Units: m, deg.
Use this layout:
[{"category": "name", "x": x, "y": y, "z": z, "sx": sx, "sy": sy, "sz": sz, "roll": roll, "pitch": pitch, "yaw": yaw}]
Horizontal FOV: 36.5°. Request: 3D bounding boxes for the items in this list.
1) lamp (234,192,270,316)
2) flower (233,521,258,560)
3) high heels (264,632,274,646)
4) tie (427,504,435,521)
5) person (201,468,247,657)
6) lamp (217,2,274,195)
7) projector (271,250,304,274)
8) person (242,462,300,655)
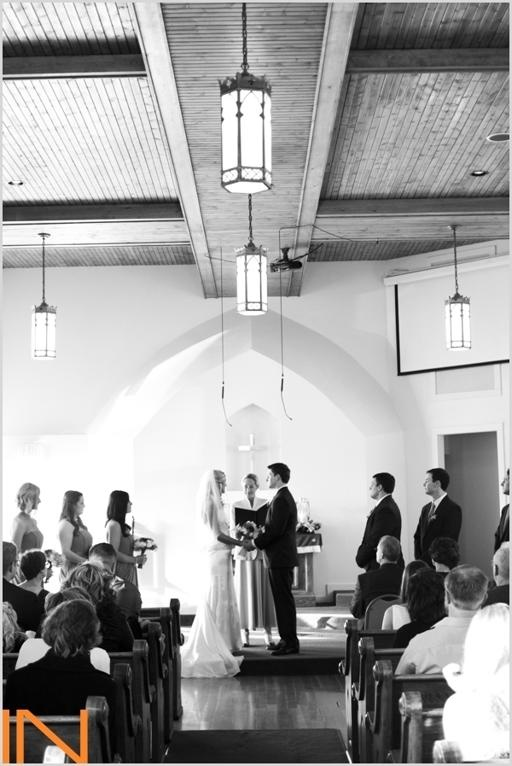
[{"category": "lamp", "x": -0.032, "y": -0.799, "z": 5.800, "sx": 0.243, "sy": 0.513, "sz": 0.438, "roll": 4, "pitch": -5, "yaw": -1}, {"category": "flower", "x": -0.115, "y": 1.534, "z": 7.480, "sx": 0.124, "sy": 0.330, "sz": 0.308, "roll": -1, "pitch": -19, "yaw": -38}, {"category": "high heels", "x": 0.116, "y": 2.422, "z": 7.313, "sx": 0.077, "sy": 0.102, "sz": 0.227, "roll": 1, "pitch": -7, "yaw": 1}, {"category": "tie", "x": 1.655, "y": 1.228, "z": 7.331, "sx": 0.033, "sy": 0.249, "sz": 0.032, "roll": -8, "pitch": -39, "yaw": 39}, {"category": "person", "x": -0.300, "y": 1.619, "z": 7.010, "sx": 0.325, "sy": 1.612, "sz": 0.535, "roll": -1, "pitch": -7, "yaw": 42}, {"category": "lamp", "x": -0.043, "y": -1.052, "z": 3.206, "sx": 0.208, "sy": 0.484, "sz": 0.206, "roll": 2, "pitch": -5, "yaw": 14}, {"category": "projector", "x": 0.334, "y": -1.226, "z": 7.846, "sx": 0.453, "sy": 0.288, "sz": 0.152, "roll": 1, "pitch": -1, "yaw": -28}, {"category": "person", "x": 0.194, "y": 1.581, "z": 7.000, "sx": 0.461, "sy": 1.684, "sz": 0.428, "roll": 3, "pitch": -5, "yaw": 3}]
